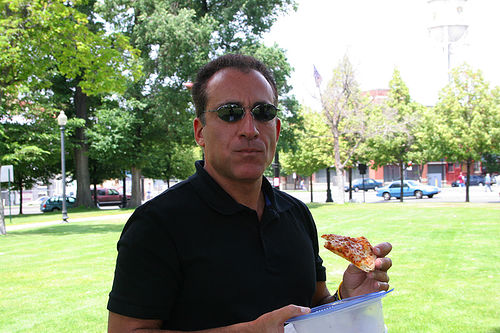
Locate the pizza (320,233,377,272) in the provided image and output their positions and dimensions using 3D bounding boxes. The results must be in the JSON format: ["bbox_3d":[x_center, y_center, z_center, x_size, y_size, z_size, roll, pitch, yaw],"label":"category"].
[{"bbox_3d":[1.056,0.994,5.231,0.547,0.411,0.171,24,-32,-7],"label":"pizza"}]

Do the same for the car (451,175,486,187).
[{"bbox_3d":[27.303,1.787,57.291,3.353,1.088,1.540,1,2,43],"label":"car"}]

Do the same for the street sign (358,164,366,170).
[{"bbox_3d":[7.754,-0.016,32.038,0.456,0.420,0.410,0,-7,-10],"label":"street sign"}]

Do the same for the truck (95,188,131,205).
[{"bbox_3d":[-12.150,3.054,42.905,4.169,1.552,2.036,-2,0,-21],"label":"truck"}]

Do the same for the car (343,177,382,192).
[{"bbox_3d":[12.814,2.050,52.381,4.389,1.341,1.812,0,-3,-26],"label":"car"}]

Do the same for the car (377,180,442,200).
[{"bbox_3d":[12.749,2.143,37.926,4.315,1.238,2.069,-4,-2,34],"label":"car"}]
